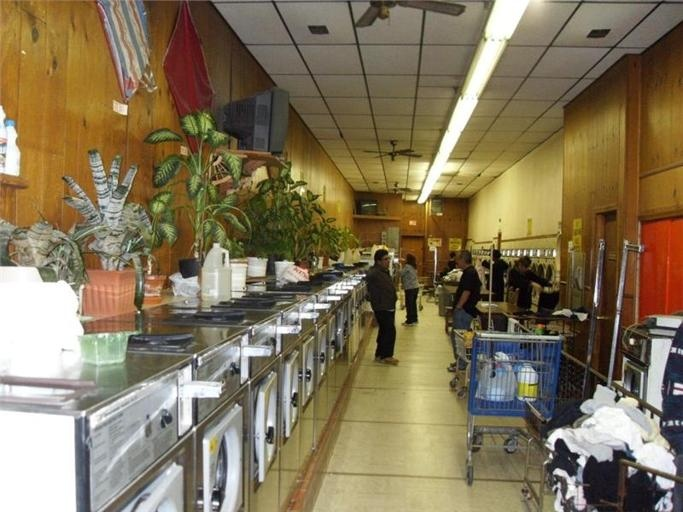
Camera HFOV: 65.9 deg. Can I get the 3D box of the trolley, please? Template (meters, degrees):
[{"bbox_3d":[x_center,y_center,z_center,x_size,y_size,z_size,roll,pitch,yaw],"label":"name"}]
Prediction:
[{"bbox_3d":[1.276,0.981,4.205,0.712,1.284,1.230,2,2,6],"label":"trolley"}]

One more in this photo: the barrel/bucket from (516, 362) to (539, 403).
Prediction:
[{"bbox_3d":[1.352,0.902,3.889,0.171,0.311,0.193,5,-5,-3],"label":"barrel/bucket"}]

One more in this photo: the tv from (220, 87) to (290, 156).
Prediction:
[{"bbox_3d":[-0.813,-1.237,4.972,0.615,0.540,0.651,-1,14,-7],"label":"tv"}]

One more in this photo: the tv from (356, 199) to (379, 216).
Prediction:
[{"bbox_3d":[0.836,-1.565,16.973,0.747,0.545,0.713,2,7,2],"label":"tv"}]

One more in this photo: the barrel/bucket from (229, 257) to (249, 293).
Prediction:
[{"bbox_3d":[-0.684,0.117,3.544,0.145,0.171,0.146,-1,3,0],"label":"barrel/bucket"}]

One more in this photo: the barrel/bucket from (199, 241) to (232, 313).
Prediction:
[{"bbox_3d":[-0.730,0.093,3.058,0.175,0.308,0.183,1,2,0],"label":"barrel/bucket"}]

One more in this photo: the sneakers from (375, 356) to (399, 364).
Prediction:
[{"bbox_3d":[0.628,1.437,7.339,0.301,0.139,0.116,-1,-5,10],"label":"sneakers"}]

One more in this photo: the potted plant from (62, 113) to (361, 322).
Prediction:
[{"bbox_3d":[-1.071,-0.468,4.271,1.563,1.083,0.799,0,3,-3],"label":"potted plant"}]
